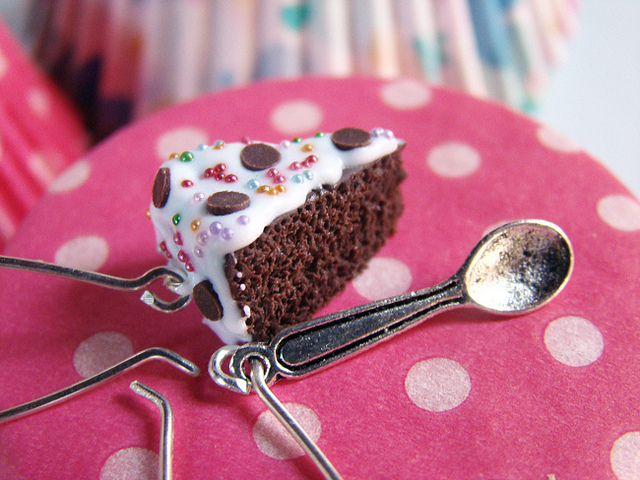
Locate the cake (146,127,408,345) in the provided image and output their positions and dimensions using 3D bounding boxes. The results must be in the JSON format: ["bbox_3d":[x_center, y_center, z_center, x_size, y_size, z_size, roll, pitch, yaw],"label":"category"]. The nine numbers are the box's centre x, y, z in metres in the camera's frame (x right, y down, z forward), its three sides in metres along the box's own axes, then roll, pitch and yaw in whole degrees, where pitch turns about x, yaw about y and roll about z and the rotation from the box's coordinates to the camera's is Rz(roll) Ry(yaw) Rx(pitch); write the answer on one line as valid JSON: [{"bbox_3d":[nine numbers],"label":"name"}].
[{"bbox_3d":[-0.048,-0.053,1.698,0.532,0.307,0.374,-35,40,-10],"label":"cake"}]
